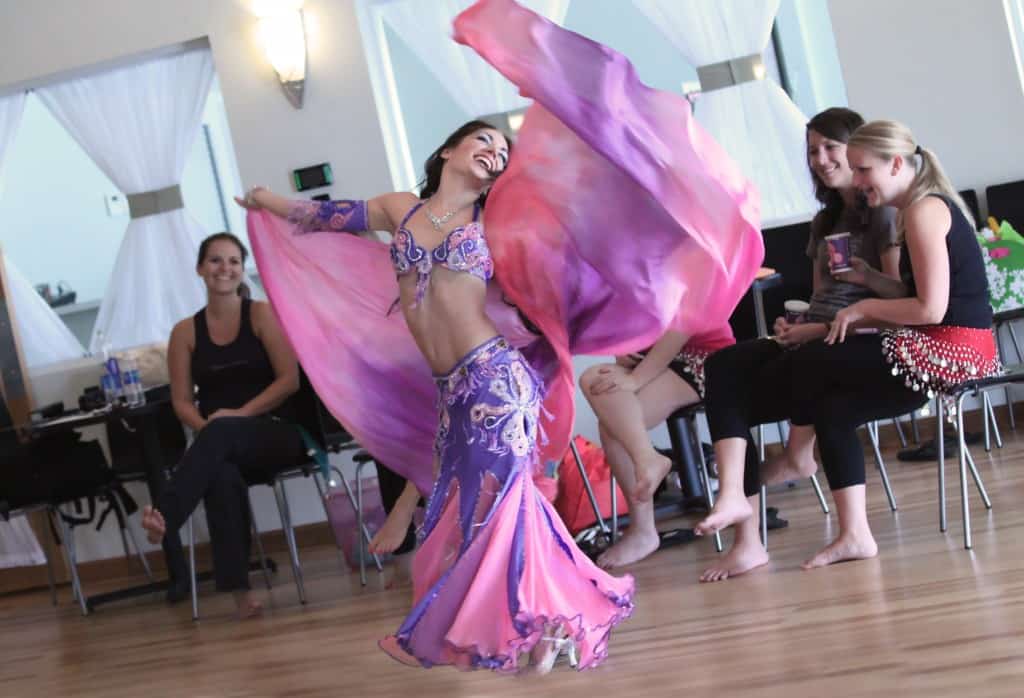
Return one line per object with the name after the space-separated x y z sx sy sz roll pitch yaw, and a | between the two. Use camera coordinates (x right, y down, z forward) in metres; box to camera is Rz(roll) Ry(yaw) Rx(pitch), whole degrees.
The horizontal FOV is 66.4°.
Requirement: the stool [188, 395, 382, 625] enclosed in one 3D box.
-1.089 0.716 3.846 0.490 0.800 0.453 -2 -15 22 | stool

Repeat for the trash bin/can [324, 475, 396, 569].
-0.767 0.910 4.217 0.369 0.449 0.332 -14 1 6 | trash bin/can

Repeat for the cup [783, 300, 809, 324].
1.167 -0.148 3.195 0.095 0.076 0.097 3 11 -1 | cup

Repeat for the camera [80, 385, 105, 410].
-2.248 0.266 4.217 0.131 0.070 0.179 -10 3 -2 | camera

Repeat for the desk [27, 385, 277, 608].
-1.734 0.653 4.285 1.188 1.220 1.115 -19 -2 -27 | desk

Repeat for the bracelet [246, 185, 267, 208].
-0.987 -0.596 3.081 0.038 0.068 0.090 8 -3 21 | bracelet

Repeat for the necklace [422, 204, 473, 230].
-0.234 -0.430 2.586 0.110 0.056 0.052 4 -40 10 | necklace

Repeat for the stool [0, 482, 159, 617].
-2.449 1.137 4.422 0.560 0.904 0.653 -12 -15 14 | stool
